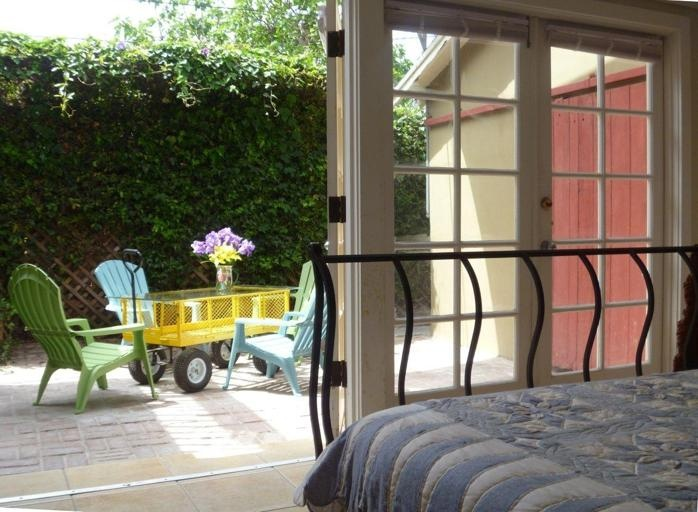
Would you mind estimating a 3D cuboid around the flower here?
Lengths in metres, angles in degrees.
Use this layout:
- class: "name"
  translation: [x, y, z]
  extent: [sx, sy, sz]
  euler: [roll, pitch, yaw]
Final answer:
- class: "flower"
  translation: [-1.095, 0.056, 5.213]
  extent: [0.473, 0.553, 0.510]
  euler: [-10, -10, 29]

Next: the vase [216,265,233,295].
- class: "vase"
  translation: [-1.056, 0.209, 5.081]
  extent: [0.201, 0.320, 0.210]
  euler: [1, 0, -12]

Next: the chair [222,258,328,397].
- class: "chair"
  translation: [-0.477, 0.524, 4.970]
  extent: [0.945, 1.228, 0.897]
  euler: [3, 1, 24]

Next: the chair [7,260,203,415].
- class: "chair"
  translation: [-1.712, 0.542, 4.424]
  extent: [0.884, 1.214, 1.103]
  euler: [3, 3, 32]

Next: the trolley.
- class: "trolley"
  translation: [-1.099, 0.640, 5.090]
  extent: [0.718, 0.821, 1.363]
  euler: [0, 2, 36]
